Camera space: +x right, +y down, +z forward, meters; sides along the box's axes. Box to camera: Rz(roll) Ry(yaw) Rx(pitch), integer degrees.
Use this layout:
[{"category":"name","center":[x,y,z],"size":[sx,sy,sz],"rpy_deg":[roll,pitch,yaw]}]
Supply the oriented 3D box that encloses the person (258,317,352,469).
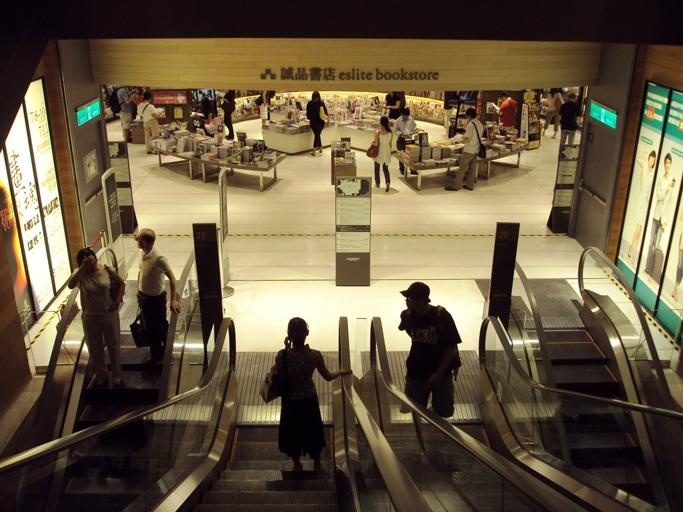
[{"category":"person","center":[-0.416,1.418,4.481],"size":[0.706,1.824,0.392],"rpy_deg":[-5,16,-15]}]

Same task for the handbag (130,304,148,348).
[{"category":"handbag","center":[-2.501,0.885,5.657],"size":[0.181,0.533,0.360],"rpy_deg":[-5,42,-13]}]

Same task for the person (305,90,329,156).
[{"category":"person","center":[-0.829,-4.623,15.810],"size":[0.643,2.110,1.369],"rpy_deg":[-2,16,-3]}]

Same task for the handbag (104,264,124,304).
[{"category":"handbag","center":[-2.436,0.305,4.929],"size":[0.183,0.421,0.141],"rpy_deg":[14,22,43]}]

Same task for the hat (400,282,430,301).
[{"category":"hat","center":[0.721,0.363,4.440],"size":[0.262,0.152,0.189],"rpy_deg":[11,15,4]}]

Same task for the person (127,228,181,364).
[{"category":"person","center":[-2.134,0.499,5.419],"size":[0.682,1.682,0.370],"rpy_deg":[10,19,34]}]

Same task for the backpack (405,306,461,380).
[{"category":"backpack","center":[0.876,0.897,4.601],"size":[0.603,0.873,0.176],"rpy_deg":[4,16,17]}]

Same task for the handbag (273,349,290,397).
[{"category":"handbag","center":[-0.552,1.099,4.241],"size":[0.155,0.417,0.279],"rpy_deg":[3,34,-1]}]

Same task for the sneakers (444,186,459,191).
[{"category":"sneakers","center":[3.153,-1.972,13.054],"size":[0.387,0.161,0.141],"rpy_deg":[12,26,14]}]

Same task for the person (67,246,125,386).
[{"category":"person","center":[-2.580,0.707,4.948],"size":[0.455,1.661,0.309],"rpy_deg":[2,16,11]}]

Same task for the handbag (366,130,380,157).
[{"category":"handbag","center":[0.891,-3.105,12.655],"size":[0.313,0.716,0.397],"rpy_deg":[-4,16,-8]}]

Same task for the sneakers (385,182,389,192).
[{"category":"sneakers","center":[1.292,-1.947,12.748],"size":[0.081,0.229,0.156],"rpy_deg":[3,29,-4]}]
